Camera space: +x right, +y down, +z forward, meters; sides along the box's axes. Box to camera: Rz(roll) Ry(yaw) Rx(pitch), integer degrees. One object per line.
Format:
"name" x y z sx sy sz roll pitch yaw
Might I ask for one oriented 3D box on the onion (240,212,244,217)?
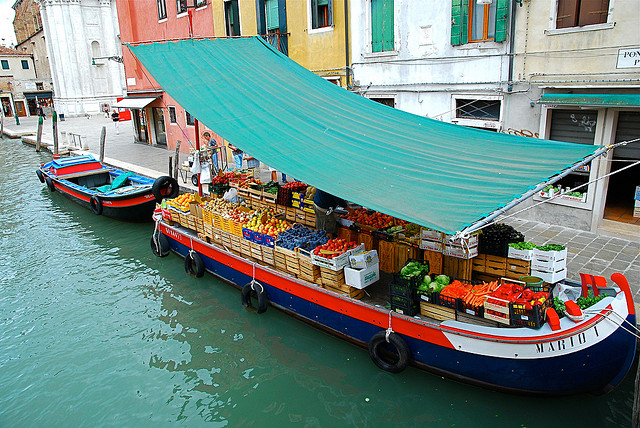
"onion" -2.387 0.009 13.125 0.109 0.034 0.096 10 32 22

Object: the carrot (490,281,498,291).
"carrot" 3.994 1.631 9.770 0.355 0.087 0.051 -40 -7 -34

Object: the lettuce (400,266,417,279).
"lettuce" 2.115 1.366 10.151 0.263 0.149 0.204 -25 7 7

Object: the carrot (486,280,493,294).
"carrot" 3.872 1.664 9.702 0.065 0.042 0.247 36 49 7

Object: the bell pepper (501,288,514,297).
"bell pepper" 4.099 1.686 9.303 0.249 0.122 0.153 3 16 15

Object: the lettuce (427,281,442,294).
"lettuce" 2.663 1.668 9.844 0.137 0.192 0.240 -37 31 36

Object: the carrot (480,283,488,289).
"carrot" 3.836 1.629 9.854 0.068 0.031 0.423 -1 13 30

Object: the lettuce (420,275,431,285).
"lettuce" 2.495 1.552 10.031 0.226 0.171 0.172 -24 60 3

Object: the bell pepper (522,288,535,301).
"bell pepper" 4.440 1.727 9.126 0.206 0.235 0.265 -13 -24 28
